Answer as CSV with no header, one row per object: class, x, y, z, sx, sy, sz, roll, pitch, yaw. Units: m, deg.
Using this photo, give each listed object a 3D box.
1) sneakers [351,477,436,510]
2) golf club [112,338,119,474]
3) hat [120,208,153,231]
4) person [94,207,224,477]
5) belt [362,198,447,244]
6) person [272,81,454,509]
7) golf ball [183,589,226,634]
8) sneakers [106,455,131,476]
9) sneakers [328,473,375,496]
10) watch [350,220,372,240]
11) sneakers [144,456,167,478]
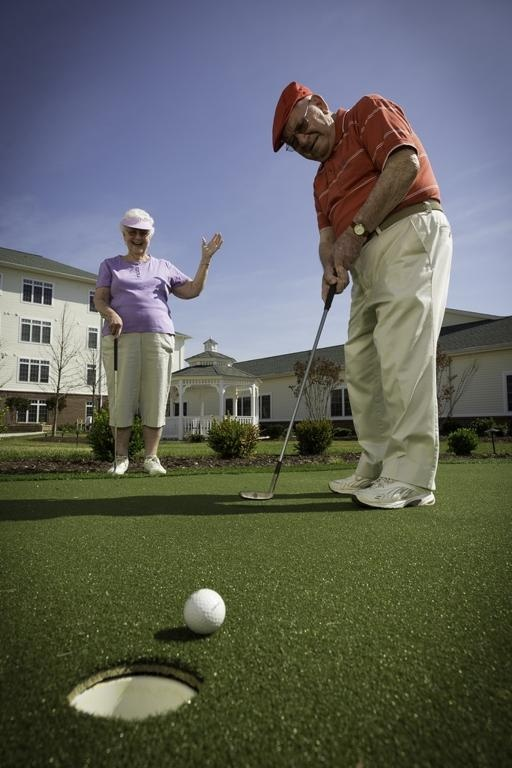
sneakers,0.643,0.514,2.419,0.367,0.175,0.145,3,-17,-12
golf club,-1.187,0.146,4.359,0.072,1.102,0.291,1,-5,-15
hat,-1.000,-1.398,4.319,0.171,0.116,0.233,4,-3,-5
person,-1.004,-0.386,4.440,0.749,2.238,0.565,1,-5,-18
belt,0.757,-0.834,2.559,0.317,0.164,0.082,-1,-5,7
person,0.591,-0.548,2.761,0.633,2.283,0.787,4,-6,-42
golf ball,-0.093,0.406,0.933,0.063,0.066,0.066,12,-6,1
sneakers,-1.160,0.667,4.264,0.100,0.110,0.275,0,-7,-5
sneakers,0.557,0.559,2.970,0.250,0.117,0.112,2,-8,-25
watch,0.525,-0.754,2.551,0.074,0.020,0.076,14,-33,30
sneakers,-0.845,0.673,4.321,0.112,0.111,0.249,-2,-7,-24
